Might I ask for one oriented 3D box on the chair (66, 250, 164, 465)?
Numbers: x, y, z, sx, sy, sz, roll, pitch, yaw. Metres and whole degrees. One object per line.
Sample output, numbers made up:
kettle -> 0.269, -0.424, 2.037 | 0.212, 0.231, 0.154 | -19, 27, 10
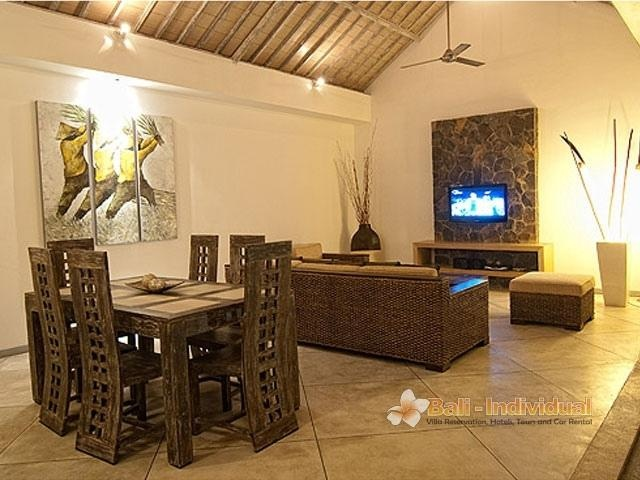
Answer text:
chair -> -1.361, 0.793, 3.322 | 0.701, 1.242, 0.748 | 7, 0, 24

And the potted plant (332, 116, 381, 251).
potted plant -> 0.801, -1.090, 9.200 | 0.880, 2.554, 1.031 | -2, 8, 4

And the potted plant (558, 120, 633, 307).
potted plant -> 4.079, -0.465, 6.527 | 0.865, 2.566, 1.457 | 2, 9, 26

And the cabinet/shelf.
cabinet/shelf -> 2.781, 0.417, 7.845 | 2.306, 0.784, 0.604 | 1, 9, 43

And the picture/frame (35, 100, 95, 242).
picture/frame -> -2.997, -0.816, 5.432 | 0.162, 1.582, 0.685 | 4, 10, 36

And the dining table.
dining table -> -1.391, 0.916, 3.692 | 1.798, 0.895, 1.110 | 2, 1, 35

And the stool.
stool -> 2.904, 0.680, 5.644 | 1.078, 0.543, 1.004 | -6, 4, -27

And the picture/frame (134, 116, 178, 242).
picture/frame -> -2.244, -0.803, 6.283 | 0.070, 1.740, 0.737 | 6, 7, 34

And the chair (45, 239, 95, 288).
chair -> -1.894, 0.178, 3.463 | 0.225, 0.388, 0.416 | 1, 2, 16

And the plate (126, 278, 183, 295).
plate -> -1.368, 0.364, 3.741 | 0.235, 0.069, 0.236 | 2, -1, 27
